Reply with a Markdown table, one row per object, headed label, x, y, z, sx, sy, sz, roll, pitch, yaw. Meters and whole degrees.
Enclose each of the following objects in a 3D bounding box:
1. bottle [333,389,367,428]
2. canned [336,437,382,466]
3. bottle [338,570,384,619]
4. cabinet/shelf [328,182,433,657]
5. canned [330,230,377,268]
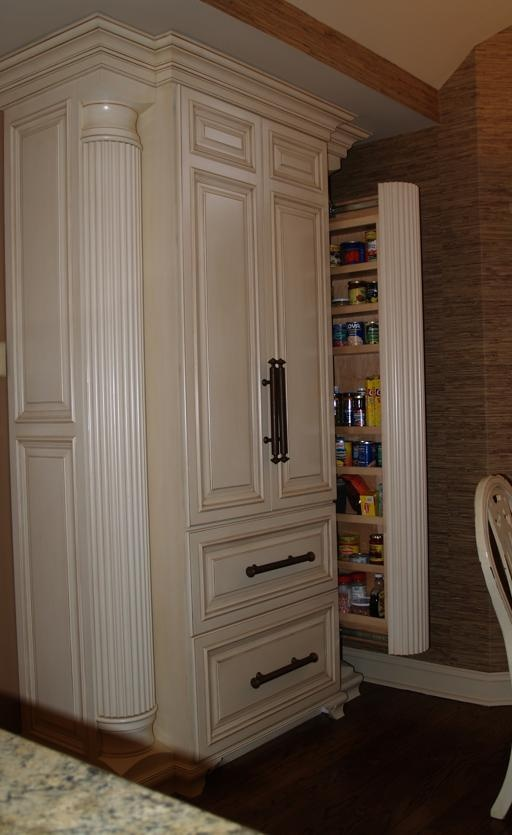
| label | x | y | z | sx | sy | sz | roll | pitch | yaw |
| --- | --- | --- | --- | --- | --- | --- | --- | --- | --- |
| bottle | 0.430 | -0.035 | 2.977 | 0.152 | 0.160 | 0.050 | -4 | -7 | 44 |
| canned | 0.460 | 0.155 | 2.973 | 0.188 | 0.207 | 0.109 | 1 | -1 | -4 |
| bottle | 0.517 | 0.768 | 3.001 | 0.162 | 0.251 | 0.250 | -7 | -8 | 42 |
| cabinet/shelf | 0.408 | -0.020 | 2.989 | 0.591 | 2.124 | 0.524 | -3 | -2 | 38 |
| canned | 0.447 | -0.755 | 2.967 | 0.207 | 0.204 | 0.127 | 1 | 1 | 29 |
